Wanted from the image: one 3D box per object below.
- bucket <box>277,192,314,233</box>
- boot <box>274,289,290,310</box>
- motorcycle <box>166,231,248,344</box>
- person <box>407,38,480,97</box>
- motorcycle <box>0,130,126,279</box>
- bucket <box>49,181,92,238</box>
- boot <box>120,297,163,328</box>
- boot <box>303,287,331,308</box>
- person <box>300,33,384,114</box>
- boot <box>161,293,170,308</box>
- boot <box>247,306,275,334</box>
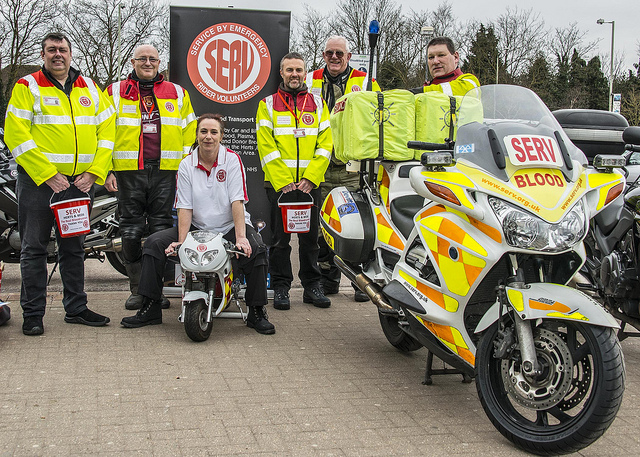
[{"bbox_3d":[-0.293,-0.196,6.475,0.431,0.510,0.320,0,-3,-6],"label":"bucket"},{"bbox_3d":[-0.474,0.856,6.811,0.186,0.199,0.231,2,8,-5],"label":"boot"},{"bbox_3d":[-1.153,0.475,6.130,0.689,1.048,1.886,2,9,2],"label":"motorcycle"},{"bbox_3d":[1.516,-1.952,6.960,0.910,0.801,0.489,-3,-1,40],"label":"person"},{"bbox_3d":[-3.440,-0.178,8.056,2.538,1.539,1.211,4,5,-9],"label":"motorcycle"},{"bbox_3d":[-2.507,-0.199,5.600,0.437,0.515,0.355,-8,1,-28],"label":"bucket"},{"bbox_3d":[-1.891,0.868,5.899,0.454,0.302,0.176,1,3,-43],"label":"boot"},{"bbox_3d":[-0.052,0.853,6.932,0.153,0.191,0.428,0,2,-32],"label":"boot"},{"bbox_3d":[0.259,-2.014,7.480,1.244,1.011,0.624,9,13,23],"label":"person"},{"bbox_3d":[-1.862,0.884,6.757,0.119,0.142,0.347,-1,-6,-12],"label":"boot"},{"bbox_3d":[-0.637,0.927,5.901,0.172,0.296,0.457,-1,7,-37],"label":"boot"}]
